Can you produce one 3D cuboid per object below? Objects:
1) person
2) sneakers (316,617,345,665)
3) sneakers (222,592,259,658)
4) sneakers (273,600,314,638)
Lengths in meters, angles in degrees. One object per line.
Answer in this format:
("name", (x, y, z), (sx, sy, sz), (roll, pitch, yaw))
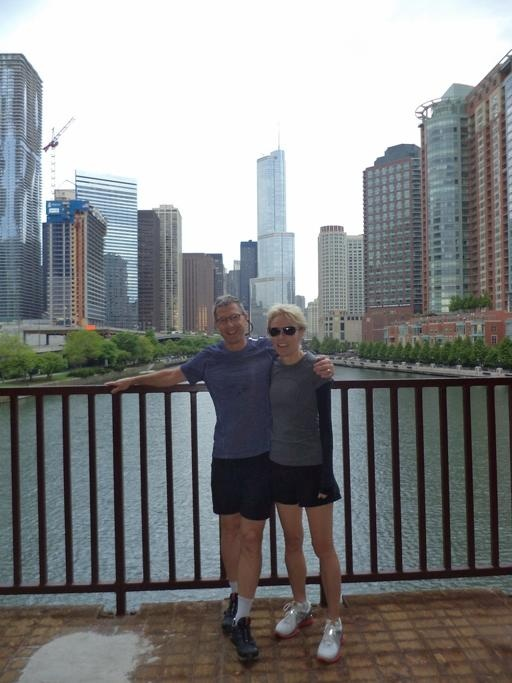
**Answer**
("person", (-0.219, 0.641, 3.616), (0.633, 1.776, 0.423), (0, -12, 3))
("sneakers", (0.352, 1.405, 3.321), (0.083, 0.170, 0.149), (-4, -13, 21))
("sneakers", (-0.105, 1.374, 3.382), (0.092, 0.168, 0.273), (2, 11, -22))
("sneakers", (0.196, 1.374, 3.505), (0.095, 0.105, 0.240), (-7, -4, 32))
